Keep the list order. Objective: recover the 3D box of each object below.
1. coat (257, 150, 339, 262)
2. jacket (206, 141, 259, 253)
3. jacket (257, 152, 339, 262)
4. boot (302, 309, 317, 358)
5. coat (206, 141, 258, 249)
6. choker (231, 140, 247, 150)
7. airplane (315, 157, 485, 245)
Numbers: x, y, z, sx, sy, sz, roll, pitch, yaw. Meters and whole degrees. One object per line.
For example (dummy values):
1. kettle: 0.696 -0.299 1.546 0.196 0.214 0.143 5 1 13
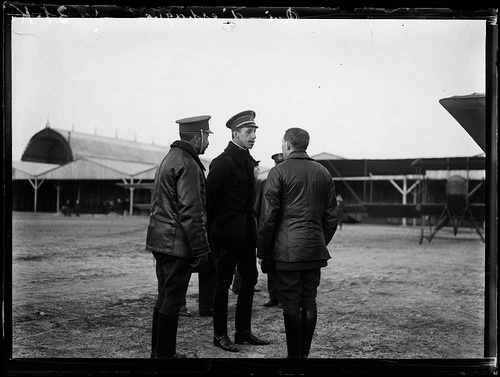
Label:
1. coat: 0.673 0.266 12.379 1.096 1.615 0.643 1 -3 -19
2. jacket: -0.256 0.182 12.342 0.254 1.563 1.073 0 -3 19
3. jacket: 0.684 0.256 12.400 1.054 1.598 0.677 1 -2 -12
4. boot: 0.801 1.946 12.071 0.188 0.646 0.091 1 -1 -10
5. coat: -0.235 0.074 12.603 0.620 1.449 0.685 3 7 25
6. choker: -0.147 -0.606 12.618 0.096 0.026 0.099 33 -8 -4
7. airplane: 3.497 0.298 24.001 4.169 1.978 10.517 2 -1 -3
